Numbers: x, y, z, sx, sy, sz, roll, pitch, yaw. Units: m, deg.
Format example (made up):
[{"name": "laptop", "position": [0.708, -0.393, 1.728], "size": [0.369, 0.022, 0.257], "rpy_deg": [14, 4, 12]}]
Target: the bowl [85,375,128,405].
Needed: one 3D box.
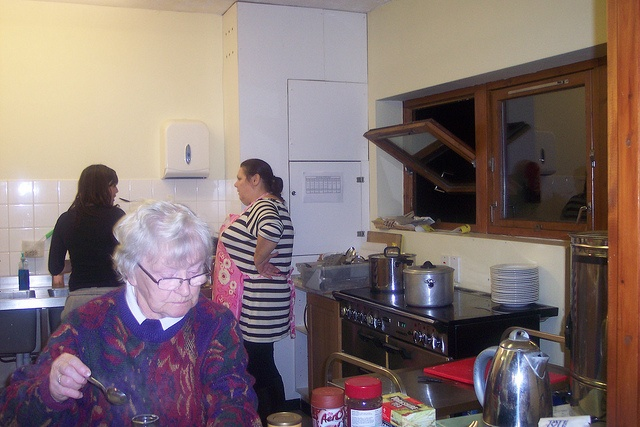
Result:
[{"name": "bowl", "position": [-0.728, 0.597, 1.860], "size": [0.128, 0.100, 0.064], "rpy_deg": [1, 2, 28]}]

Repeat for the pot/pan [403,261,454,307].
[{"name": "pot/pan", "position": [0.644, 0.420, 3.290], "size": [0.266, 0.248, 0.271], "rpy_deg": [-1, 0, -2]}]

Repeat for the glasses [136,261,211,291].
[{"name": "glasses", "position": [-0.536, 0.224, 1.986], "size": [0.247, 0.096, 0.059], "rpy_deg": [-1, 2, -7]}]

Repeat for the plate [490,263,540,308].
[{"name": "plate", "position": [1.134, 0.401, 3.205], "size": [0.238, 0.192, 0.241], "rpy_deg": [-1, -2, -5]}]

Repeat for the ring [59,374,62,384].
[{"name": "ring", "position": [-0.885, 0.555, 1.860], "size": [0.008, 0.026, 0.025], "rpy_deg": [15, -26, -30]}]

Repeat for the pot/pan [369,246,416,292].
[{"name": "pot/pan", "position": [0.442, 0.352, 3.560], "size": [0.308, 0.270, 0.243], "rpy_deg": [-1, 2, -14]}]
